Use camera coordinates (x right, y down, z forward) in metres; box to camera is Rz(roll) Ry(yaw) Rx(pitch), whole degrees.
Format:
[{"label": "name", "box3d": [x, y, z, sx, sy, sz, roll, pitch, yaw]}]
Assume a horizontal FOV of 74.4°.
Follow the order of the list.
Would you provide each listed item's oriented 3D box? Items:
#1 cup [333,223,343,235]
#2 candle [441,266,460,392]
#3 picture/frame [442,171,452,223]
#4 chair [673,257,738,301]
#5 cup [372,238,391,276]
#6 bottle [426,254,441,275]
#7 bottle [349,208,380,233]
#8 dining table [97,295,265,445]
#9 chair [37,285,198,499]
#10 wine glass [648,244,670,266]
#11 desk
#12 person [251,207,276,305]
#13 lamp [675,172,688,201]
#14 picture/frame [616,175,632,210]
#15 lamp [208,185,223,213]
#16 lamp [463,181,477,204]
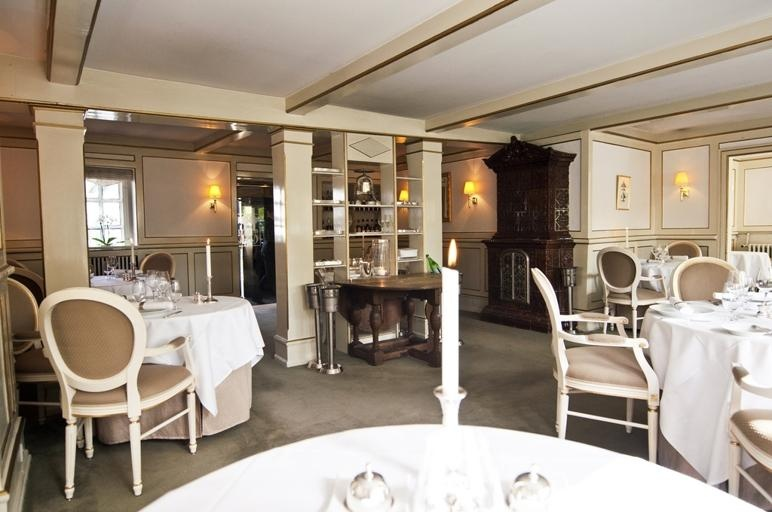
[{"label": "cup", "box3d": [-0.569, -0.311, 6.061, 0.124, 0.108, 0.189, -4, 11, -14]}, {"label": "candle", "box3d": [0.244, 0.278, 1.927, 0.059, 0.484, 0.114, 0, 12, 10]}, {"label": "picture/frame", "box3d": [1.064, -1.010, 8.869, 0.097, 0.871, 0.260, -8, 14, -28]}, {"label": "chair", "box3d": [2.709, 0.212, 4.328, 0.304, 0.359, 0.277, -10, 9, 11]}, {"label": "cup", "box3d": [-0.055, 0.022, 6.189, 0.230, 0.408, 0.420, -2, 11, 1]}, {"label": "bottle", "box3d": [0.597, 0.119, 6.486, 0.093, 0.191, 0.227, -20, 34, -9]}, {"label": "bottle", "box3d": [-0.325, -0.538, 7.748, 0.519, 0.433, 0.267, 4, 9, 26]}, {"label": "dining table", "box3d": [-1.584, 0.804, 4.279, 1.131, 0.820, 1.122, 4, 10, 28]}, {"label": "chair", "box3d": [-1.840, 0.889, 3.581, 0.905, 1.440, 0.583, -7, 13, -23]}, {"label": "wine glass", "box3d": [3.860, 0.006, 7.202, 0.337, 0.326, 0.271, -7, 10, -34]}, {"label": "desk", "box3d": [0.105, 0.684, 5.708, 1.453, 0.685, 0.979, -1, 1, -37]}, {"label": "person", "box3d": [-2.249, -0.034, 9.360, 0.481, 1.722, 0.416, -3, 5, -39]}, {"label": "lamp", "box3d": [4.519, -1.054, 7.747, 0.204, 0.423, 0.140, 7, 15, 36]}, {"label": "picture/frame", "box3d": [3.449, -0.927, 7.404, 0.062, 0.604, 0.536, 1, 2, 45]}, {"label": "lamp", "box3d": [-2.858, -0.953, 8.570, 0.234, 0.444, 0.175, -8, 13, -26]}, {"label": "lamp", "box3d": [1.385, -1.013, 8.410, 0.129, 0.401, 0.328, -10, 14, -34]}]
